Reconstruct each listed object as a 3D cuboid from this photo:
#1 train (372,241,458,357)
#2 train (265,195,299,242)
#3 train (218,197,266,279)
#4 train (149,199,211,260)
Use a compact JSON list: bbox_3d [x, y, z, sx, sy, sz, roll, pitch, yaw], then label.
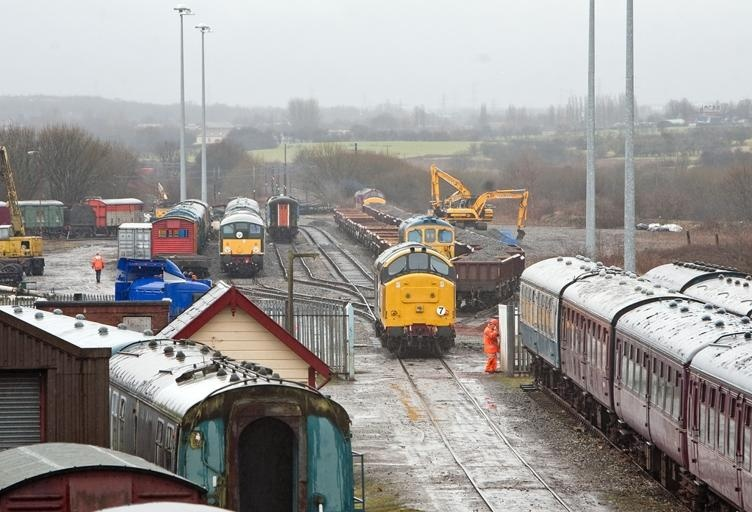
[{"bbox_3d":[1.537,1.587,44.248,2.534,3.373,7.360,0,1,0],"label":"train"},{"bbox_3d":[-6.500,-2.623,81.574,1.934,3.298,2.835,-3,8,-11],"label":"train"},{"bbox_3d":[-7.960,-1.172,69.576,2.438,3.448,9.786,-2,8,-6],"label":"train"},{"bbox_3d":[-11.741,-1.375,69.898,2.517,3.425,11.361,-2,8,-4],"label":"train"}]
